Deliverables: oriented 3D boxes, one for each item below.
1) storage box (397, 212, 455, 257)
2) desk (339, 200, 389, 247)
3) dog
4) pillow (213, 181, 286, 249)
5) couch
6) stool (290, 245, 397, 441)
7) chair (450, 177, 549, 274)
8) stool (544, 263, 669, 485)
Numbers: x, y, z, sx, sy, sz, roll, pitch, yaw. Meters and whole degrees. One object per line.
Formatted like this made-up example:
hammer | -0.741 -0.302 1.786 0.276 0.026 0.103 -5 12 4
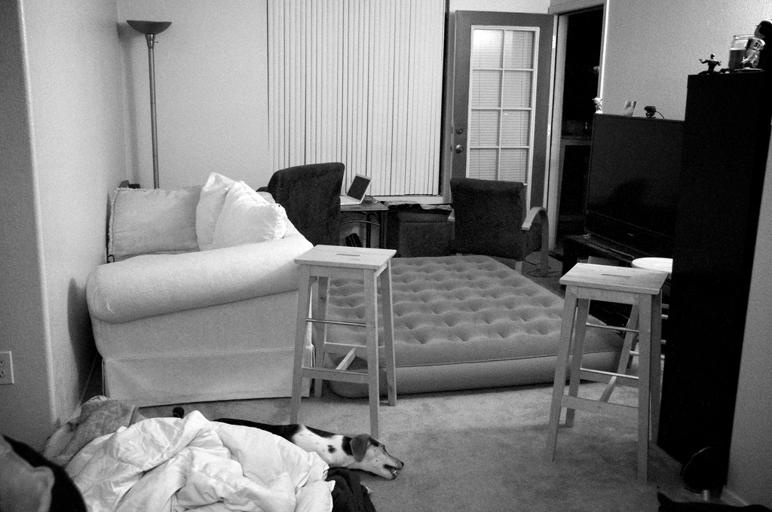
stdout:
storage box | 0.365 -0.203 5.571 0.456 0.388 0.444 0 4 -4
desk | -0.126 -0.304 6.035 0.484 0.390 0.484 10 8 38
dog | -0.354 0.878 2.580 0.666 0.135 0.241 8 4 9
pillow | -0.805 -0.199 3.639 0.423 0.417 0.129 19 -3 39
couch | -1.064 0.145 3.775 1.292 0.915 1.529 -2 26 1
stool | -0.218 0.442 3.112 0.599 0.851 0.609 4 6 27
chair | 1.123 -0.296 5.637 0.899 1.033 1.041 11 19 40
stool | 1.118 0.555 2.879 0.658 0.848 0.641 2 3 -9
